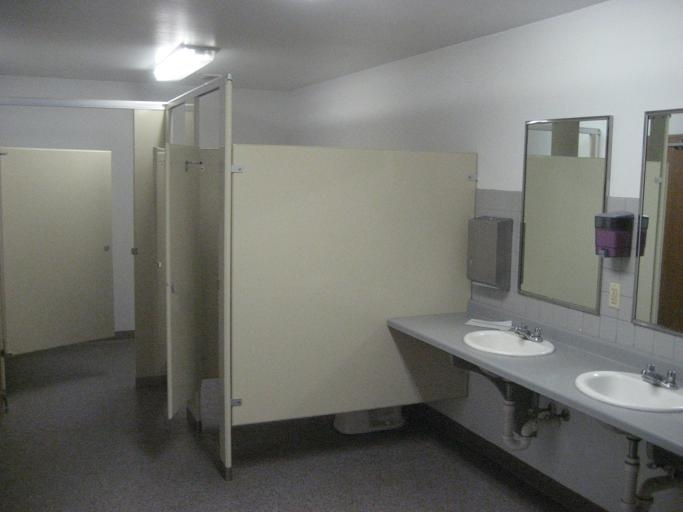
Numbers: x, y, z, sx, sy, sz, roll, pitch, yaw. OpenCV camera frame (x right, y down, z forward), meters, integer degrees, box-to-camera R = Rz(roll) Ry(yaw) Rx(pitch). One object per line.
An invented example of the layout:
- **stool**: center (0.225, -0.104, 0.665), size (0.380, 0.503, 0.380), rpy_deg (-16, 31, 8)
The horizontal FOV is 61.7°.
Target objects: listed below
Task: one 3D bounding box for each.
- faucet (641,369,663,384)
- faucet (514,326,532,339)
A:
- **faucet**: center (1.763, 0.673, 3.234), size (0.099, 0.085, 0.084), rpy_deg (7, 13, 29)
- **faucet**: center (1.271, 0.535, 3.977), size (0.071, 0.062, 0.114), rpy_deg (0, 8, -10)
